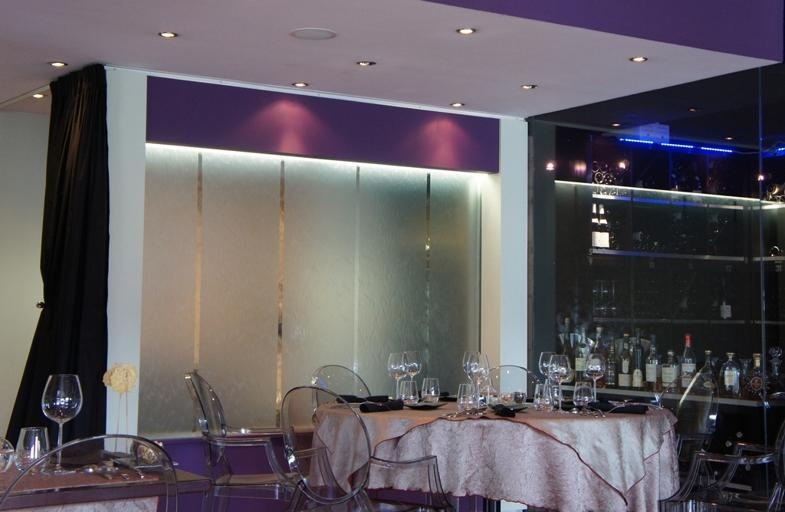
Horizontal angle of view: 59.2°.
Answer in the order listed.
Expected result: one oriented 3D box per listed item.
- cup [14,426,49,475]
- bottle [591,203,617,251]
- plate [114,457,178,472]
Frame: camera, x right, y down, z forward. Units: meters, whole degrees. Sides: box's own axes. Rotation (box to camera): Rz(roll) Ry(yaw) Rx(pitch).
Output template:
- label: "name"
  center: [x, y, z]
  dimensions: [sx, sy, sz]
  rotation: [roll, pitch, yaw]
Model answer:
- label: "cup"
  center: [-1.778, 0.975, 3.420]
  dimensions: [0.148, 0.211, 0.150]
  rotation: [-6, -23, -3]
- label: "bottle"
  center: [1.951, -0.284, 6.444]
  dimensions: [0.088, 0.371, 0.245]
  rotation: [-3, 3, -44]
- label: "plate"
  center: [-1.107, 0.933, 3.086]
  dimensions: [0.197, 0.028, 0.133]
  rotation: [-6, -11, 40]
